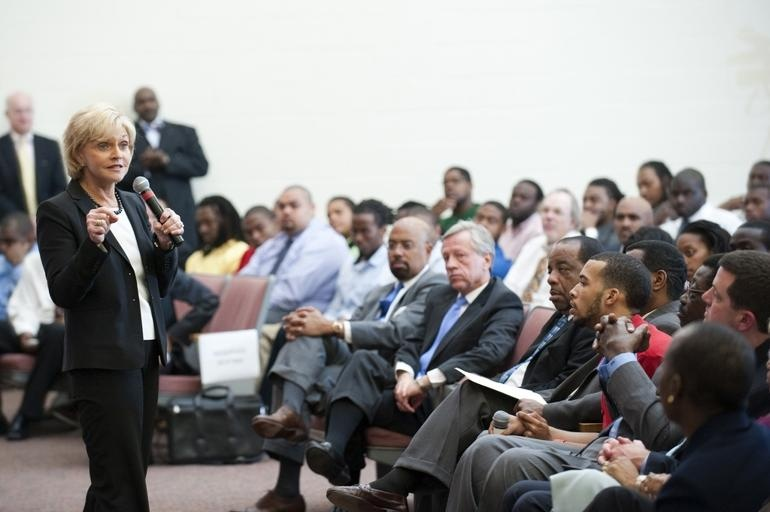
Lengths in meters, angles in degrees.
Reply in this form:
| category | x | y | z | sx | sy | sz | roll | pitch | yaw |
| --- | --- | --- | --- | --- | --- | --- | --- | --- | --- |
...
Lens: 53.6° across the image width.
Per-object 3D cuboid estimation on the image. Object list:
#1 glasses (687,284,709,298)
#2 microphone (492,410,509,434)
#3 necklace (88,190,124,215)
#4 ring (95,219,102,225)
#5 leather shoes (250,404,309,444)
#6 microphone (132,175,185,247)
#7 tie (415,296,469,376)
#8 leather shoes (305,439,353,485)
| category | x | y | z | sx | sy | sz | roll | pitch | yaw |
| --- | --- | --- | --- | --- | --- | --- | --- | --- | --- |
| glasses | 1.550 | 0.171 | 3.795 | 0.069 | 0.023 | 0.068 | 19 | -6 | 0 |
| microphone | 0.568 | 0.819 | 3.768 | 0.093 | 0.089 | 0.086 | 2 | 5 | 17 |
| necklace | -1.377 | -0.260 | 3.792 | 0.174 | 0.050 | 0.129 | 9 | 13 | -8 |
| ring | -1.311 | -0.153 | 3.499 | 0.026 | 0.025 | 0.009 | 1 | 6 | -23 |
| leather shoes | -0.603 | 0.971 | 4.433 | 0.326 | 0.152 | 0.154 | 26 | -41 | -36 |
| microphone | -1.178 | -0.253 | 3.913 | 0.155 | 0.164 | 0.587 | 7 | 36 | -32 |
| tie | 0.348 | 0.486 | 4.549 | 0.107 | 0.551 | 0.078 | 47 | -22 | -25 |
| leather shoes | -0.307 | 1.132 | 4.224 | 0.319 | 0.156 | 0.147 | 50 | 14 | -20 |
